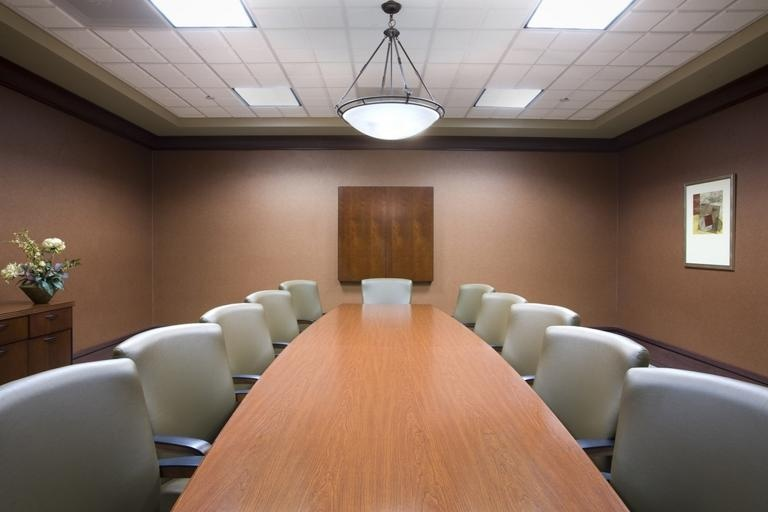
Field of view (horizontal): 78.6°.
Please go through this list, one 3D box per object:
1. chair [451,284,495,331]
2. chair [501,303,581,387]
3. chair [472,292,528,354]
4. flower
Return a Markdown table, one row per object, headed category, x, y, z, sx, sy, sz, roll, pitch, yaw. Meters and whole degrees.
| category | x | y | z | sx | sy | sz | roll | pitch | yaw |
| --- | --- | --- | --- | --- | --- | --- | --- | --- | --- |
| chair | 0.933 | 0.574 | 5.192 | 0.420 | 0.532 | 0.445 | -2 | -17 | 11 |
| chair | 1.220 | 0.738 | 3.812 | 0.530 | 0.680 | 0.572 | -8 | -23 | 36 |
| chair | 1.105 | 0.627 | 4.468 | 0.432 | 0.546 | 0.483 | 7 | -10 | 0 |
| flower | -3.621 | 0.114 | 4.942 | 0.768 | 0.676 | 0.775 | 0 | 3 | -6 |
